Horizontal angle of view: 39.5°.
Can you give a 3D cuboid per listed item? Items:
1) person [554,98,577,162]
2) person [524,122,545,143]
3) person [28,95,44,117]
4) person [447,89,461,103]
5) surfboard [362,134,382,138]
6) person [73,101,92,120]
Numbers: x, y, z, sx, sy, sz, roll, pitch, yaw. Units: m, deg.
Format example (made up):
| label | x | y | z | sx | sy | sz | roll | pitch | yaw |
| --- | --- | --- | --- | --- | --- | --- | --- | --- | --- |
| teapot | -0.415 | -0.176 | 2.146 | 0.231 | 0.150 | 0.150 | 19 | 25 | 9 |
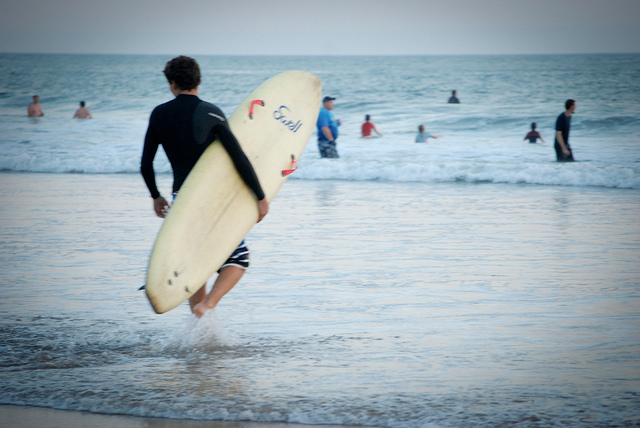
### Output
| label | x | y | z | sx | sy | sz | roll | pitch | yaw |
| --- | --- | --- | --- | --- | --- | --- | --- | --- | --- |
| person | 5.847 | -1.967 | 21.082 | 0.510 | 1.590 | 1.558 | 7 | 15 | 14 |
| person | 6.011 | -2.294 | 24.982 | 0.477 | 0.549 | 0.786 | 5 | 14 | 11 |
| person | -8.960 | -3.461 | 28.163 | 0.467 | 0.618 | 1.178 | -3 | 13 | -16 |
| person | 4.671 | -4.091 | 30.863 | 0.366 | 0.448 | 1.167 | 4 | 12 | 9 |
| surfboard | 1.521 | -2.303 | 26.156 | 0.410 | 0.070 | 0.101 | 1 | -28 | -2 |
| person | -7.612 | -3.371 | 28.730 | 0.459 | 0.564 | 0.976 | 4 | 13 | 6 |
